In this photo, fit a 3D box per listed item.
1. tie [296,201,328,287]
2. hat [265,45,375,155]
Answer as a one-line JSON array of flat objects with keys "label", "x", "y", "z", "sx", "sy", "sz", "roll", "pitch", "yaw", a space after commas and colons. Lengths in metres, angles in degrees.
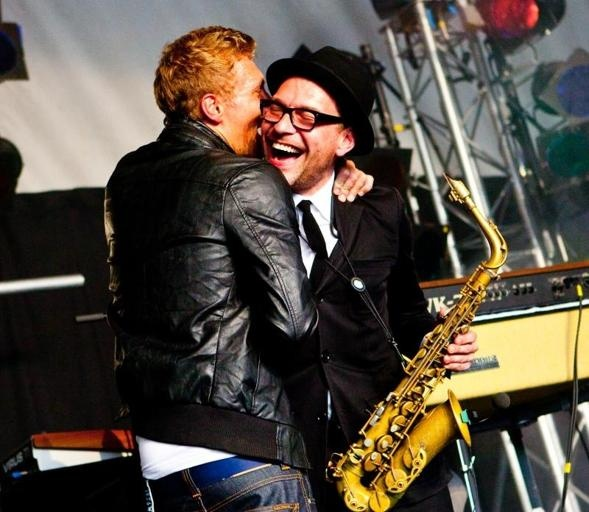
[{"label": "tie", "x": 0.095, "y": -0.054, "z": 3.597, "sx": 0.090, "sy": 0.393, "sz": 0.069, "roll": -14, "pitch": -4, "yaw": 31}, {"label": "hat", "x": 0.179, "y": -0.861, "z": 3.854, "sx": 0.546, "sy": 0.250, "sz": 0.493, "roll": 25, "pitch": -3, "yaw": -7}]
